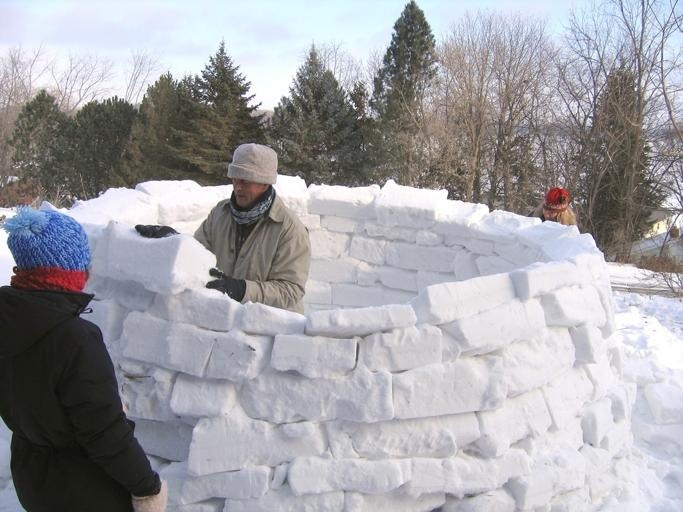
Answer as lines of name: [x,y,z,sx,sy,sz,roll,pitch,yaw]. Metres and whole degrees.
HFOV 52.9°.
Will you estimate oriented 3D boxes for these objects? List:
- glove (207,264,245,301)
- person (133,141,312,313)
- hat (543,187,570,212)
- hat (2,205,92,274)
glove: [-0.671,0.169,3.983,0.189,0.083,0.152,28,1,17]
person: [-0.877,-0.269,4.832,0.833,1.825,1.035,7,4,40]
hat: [1.901,-0.505,6.045,0.161,0.221,0.196,-4,12,-14]
hat: [-1.336,-0.095,3.162,0.315,0.392,0.252,-5,5,-30]
